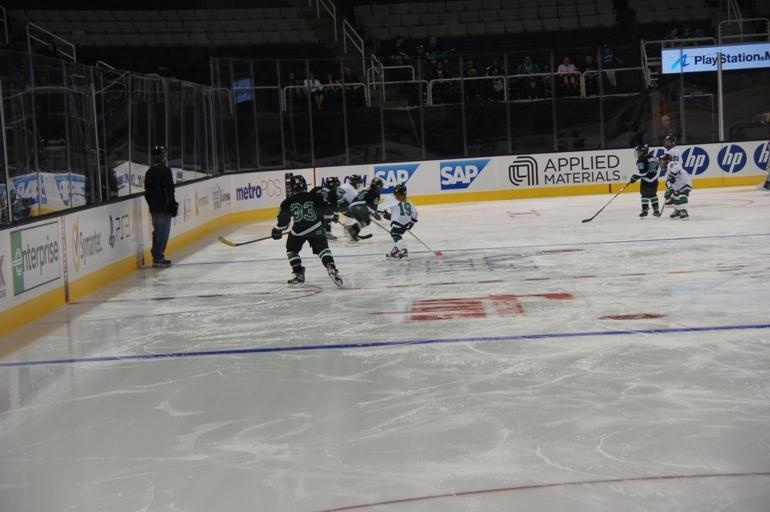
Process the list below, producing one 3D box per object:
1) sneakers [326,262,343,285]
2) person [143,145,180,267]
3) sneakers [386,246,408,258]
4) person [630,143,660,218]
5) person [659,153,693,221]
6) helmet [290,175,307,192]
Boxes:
[{"bbox_3d":[-0.718,0.262,10.570,0.109,0.312,0.154,-46,-26,18],"label":"sneakers"},{"bbox_3d":[-3.624,-0.641,12.172,0.516,1.673,0.274,-7,16,-12],"label":"person"},{"bbox_3d":[0.178,-0.057,12.238,0.394,0.147,0.139,3,7,25],"label":"sneakers"},{"bbox_3d":[5.426,-1.549,15.528,0.559,1.501,0.920,2,16,19],"label":"person"},{"bbox_3d":[6.105,-1.466,15.675,0.534,1.332,1.537,2,15,21],"label":"person"},{"bbox_3d":[-1.198,-0.993,10.394,0.194,0.240,0.321,-6,14,-10],"label":"helmet"}]
